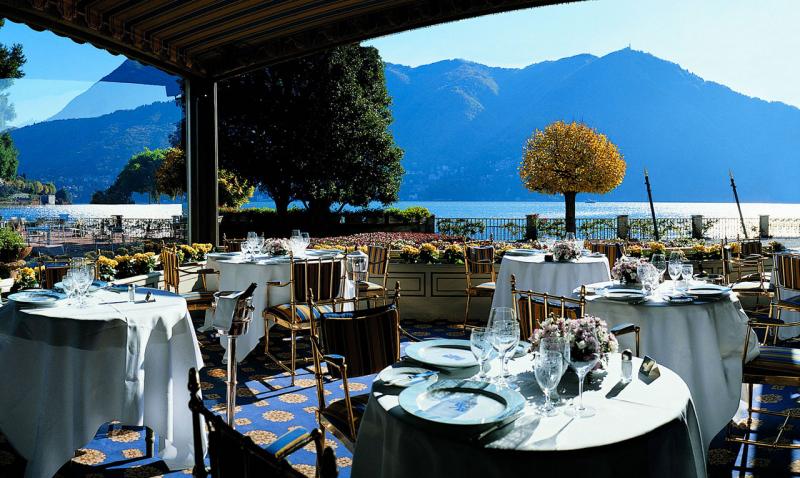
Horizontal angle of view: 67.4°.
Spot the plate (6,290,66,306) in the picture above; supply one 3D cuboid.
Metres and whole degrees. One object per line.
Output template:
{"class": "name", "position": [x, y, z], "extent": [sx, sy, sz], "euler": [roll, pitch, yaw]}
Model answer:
{"class": "plate", "position": [-3.784, 0.622, 6.257], "extent": [0.454, 0.154, 0.482], "euler": [-1, -1, -42]}

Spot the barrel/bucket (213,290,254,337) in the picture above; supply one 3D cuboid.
{"class": "barrel/bucket", "position": [-1.739, 0.780, 6.274], "extent": [0.402, 0.403, 0.431], "euler": [6, -1, 0]}

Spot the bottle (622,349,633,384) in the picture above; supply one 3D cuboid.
{"class": "bottle", "position": [1.989, 1.113, 5.293], "extent": [0.103, 0.294, 0.190], "euler": [-2, -1, 21]}

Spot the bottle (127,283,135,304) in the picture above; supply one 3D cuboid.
{"class": "bottle", "position": [-2.872, 0.583, 6.438], "extent": [0.072, 0.182, 0.305], "euler": [-1, -1, -24]}

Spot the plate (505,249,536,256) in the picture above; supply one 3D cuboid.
{"class": "plate", "position": [1.823, 0.207, 9.025], "extent": [0.427, 0.084, 0.606], "euler": [-2, -1, 23]}

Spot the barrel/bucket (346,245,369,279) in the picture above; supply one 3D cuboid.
{"class": "barrel/bucket", "position": [-0.624, 0.379, 9.154], "extent": [0.380, 0.429, 0.388], "euler": [-2, 20, 1]}

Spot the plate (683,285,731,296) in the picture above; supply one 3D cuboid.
{"class": "plate", "position": [3.405, 0.576, 6.665], "extent": [0.366, 0.128, 0.586], "euler": [-2, -1, 35]}

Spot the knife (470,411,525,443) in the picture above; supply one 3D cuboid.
{"class": "knife", "position": [0.774, 1.526, 4.846], "extent": [0.369, 0.103, 0.069], "euler": [-18, -26, -15]}
